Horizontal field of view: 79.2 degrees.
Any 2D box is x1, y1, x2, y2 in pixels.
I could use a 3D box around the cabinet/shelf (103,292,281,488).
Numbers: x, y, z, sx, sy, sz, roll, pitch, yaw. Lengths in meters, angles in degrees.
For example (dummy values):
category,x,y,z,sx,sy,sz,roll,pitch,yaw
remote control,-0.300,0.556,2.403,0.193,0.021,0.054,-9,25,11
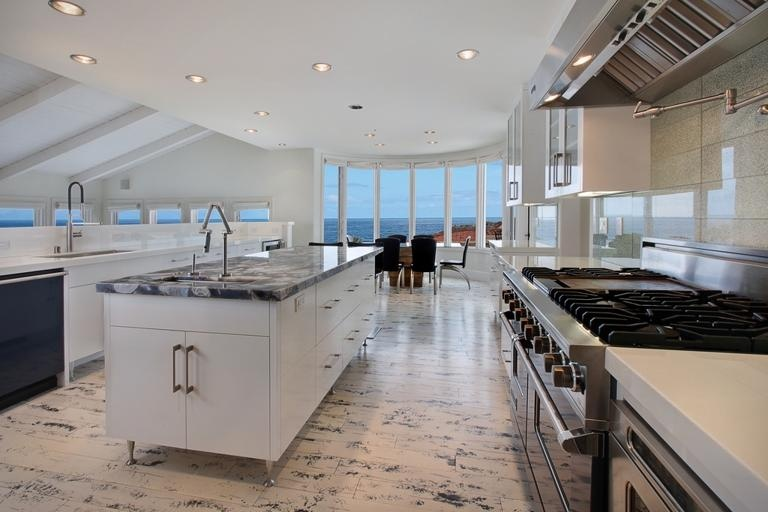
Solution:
category,x,y,z,sx,sy,sz,roll,pitch,yaw
cabinet/shelf,-0.994,0.730,2.903,1.221,1.032,0.769,0,-1,24
